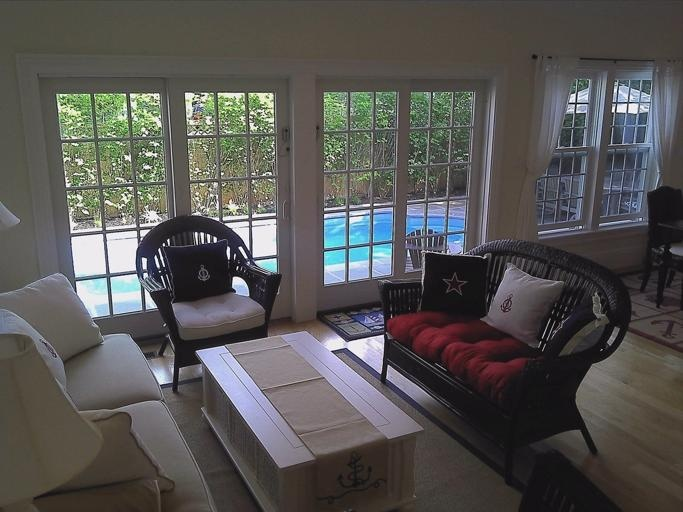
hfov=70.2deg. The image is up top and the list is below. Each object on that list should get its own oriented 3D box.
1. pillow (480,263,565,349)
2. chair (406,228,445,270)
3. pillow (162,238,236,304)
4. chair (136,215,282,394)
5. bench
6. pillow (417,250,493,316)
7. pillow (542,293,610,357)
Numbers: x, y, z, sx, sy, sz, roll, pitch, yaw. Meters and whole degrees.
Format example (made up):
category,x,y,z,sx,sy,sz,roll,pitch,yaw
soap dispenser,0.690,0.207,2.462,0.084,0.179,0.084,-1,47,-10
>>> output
category,x,y,z,sx,sy,sz,roll,pitch,yaw
pillow,1.196,0.340,3.161,0.225,0.397,0.441,-4,16,-32
chair,0.790,-0.070,5.043,0.290,0.341,0.303,-2,-4,-28
pillow,-1.095,0.131,3.666,0.426,0.417,0.153,-8,0,-28
chair,-1.001,0.315,3.651,0.954,1.097,0.858,-5,14,-19
bench,1.046,0.532,3.261,0.975,1.072,1.589,-8,15,-23
pillow,0.830,0.217,3.509,0.403,0.422,0.150,6,-3,13
pillow,1.374,0.404,2.716,0.386,0.313,0.193,-13,16,-38
